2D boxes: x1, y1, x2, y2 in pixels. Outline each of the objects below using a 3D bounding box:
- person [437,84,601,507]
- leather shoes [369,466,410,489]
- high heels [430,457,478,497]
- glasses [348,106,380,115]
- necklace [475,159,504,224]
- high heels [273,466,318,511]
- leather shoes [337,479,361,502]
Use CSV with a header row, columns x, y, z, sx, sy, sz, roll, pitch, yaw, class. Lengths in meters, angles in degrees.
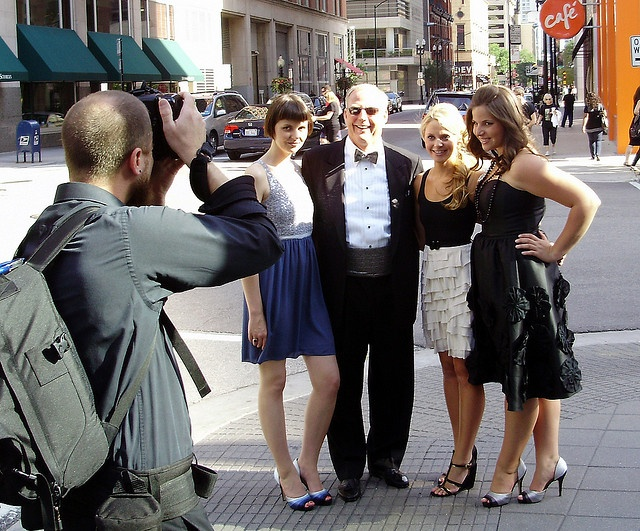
x,y,z,sx,sy,sz,roll,pitch,yaw,class
1.051,0.152,3.017,0.652,2.160,0.529,0,7,25,person
0.401,1.190,3.435,0.215,0.093,0.083,8,35,46,leather shoes
0.741,1.161,3.326,0.291,0.225,0.123,-1,4,-22,high heels
0.248,-0.879,3.369,0.163,0.054,0.046,-3,7,4,glasses
0.859,-0.379,3.066,0.049,0.289,0.173,16,15,-6,necklace
-0.139,1.260,3.352,0.110,0.151,0.351,-5,8,-18,high heels
0.167,1.245,3.315,0.070,0.057,0.141,0,22,5,leather shoes
